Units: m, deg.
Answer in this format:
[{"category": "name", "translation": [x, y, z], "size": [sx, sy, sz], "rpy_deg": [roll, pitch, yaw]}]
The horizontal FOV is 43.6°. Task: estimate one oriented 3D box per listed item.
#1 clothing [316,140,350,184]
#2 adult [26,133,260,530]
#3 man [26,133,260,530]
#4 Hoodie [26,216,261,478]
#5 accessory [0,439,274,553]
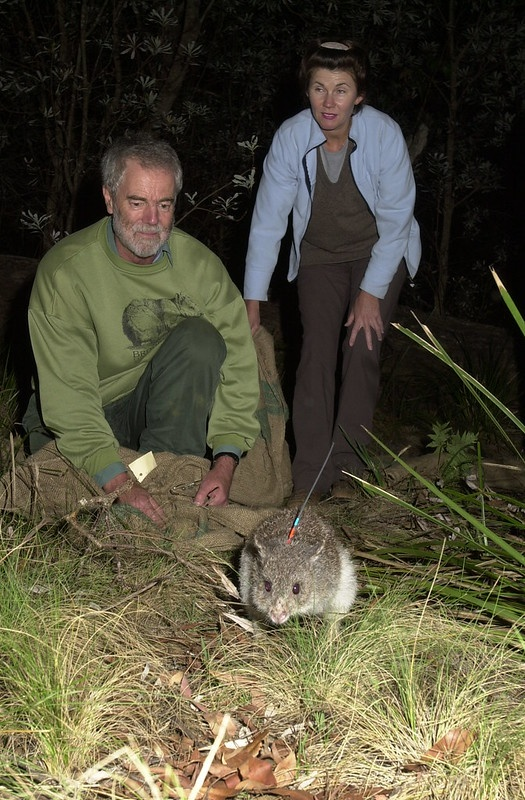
[{"category": "clothing", "translation": [0.415, -1.395, 3.850], "size": [0.123, 0.196, 0.049], "rpy_deg": [1, 30, 6]}, {"category": "adult", "translation": [-0.621, -0.362, 3.210], "size": [1.257, 1.545, 1.162], "rpy_deg": [13, 28, 14]}, {"category": "man", "translation": [-0.572, -0.389, 3.231], "size": [1.332, 1.575, 1.080], "rpy_deg": [20, 31, 22]}, {"category": "Hoodie", "translation": [-0.534, -0.215, 3.253], "size": [1.167, 1.059, 1.316], "rpy_deg": [-3, 15, 20]}, {"category": "accessory", "translation": [-0.600, 0.471, 2.937], "size": [0.933, 0.225, 0.567], "rpy_deg": [-11, 44, -30]}]
